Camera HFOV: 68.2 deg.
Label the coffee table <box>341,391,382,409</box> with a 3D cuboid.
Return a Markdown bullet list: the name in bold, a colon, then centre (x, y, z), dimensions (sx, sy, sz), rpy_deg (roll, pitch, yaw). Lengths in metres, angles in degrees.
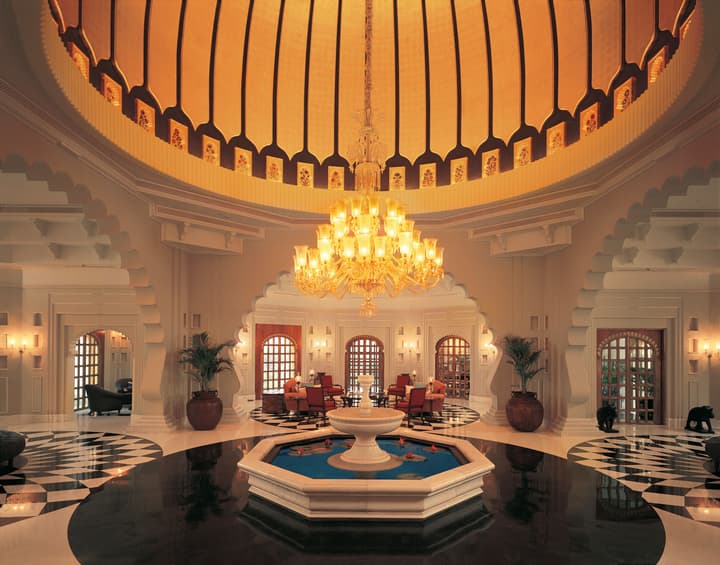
- **coffee table**: centre (0.068, 3.229, 14.632), dimensions (1.126, 0.384, 1.043), rpy_deg (0, -1, -2)

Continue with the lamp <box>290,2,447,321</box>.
- **lamp**: centre (0.153, -2.036, 8.574), dimensions (2.299, 5.061, 1.036), rpy_deg (0, 0, -8)

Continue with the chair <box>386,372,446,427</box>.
- **chair**: centre (1.645, 3.196, 14.399), dimensions (1.273, 1.471, 1.330), rpy_deg (0, 1, -20)

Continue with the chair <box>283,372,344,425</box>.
- **chair**: centre (-1.191, 3.160, 14.637), dimensions (1.368, 1.569, 1.144), rpy_deg (-14, -17, 40)

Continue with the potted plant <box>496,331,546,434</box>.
- **potted plant**: centre (3.714, 2.237, 12.074), dimensions (0.969, 2.095, 1.040), rpy_deg (0, 0, 19)
